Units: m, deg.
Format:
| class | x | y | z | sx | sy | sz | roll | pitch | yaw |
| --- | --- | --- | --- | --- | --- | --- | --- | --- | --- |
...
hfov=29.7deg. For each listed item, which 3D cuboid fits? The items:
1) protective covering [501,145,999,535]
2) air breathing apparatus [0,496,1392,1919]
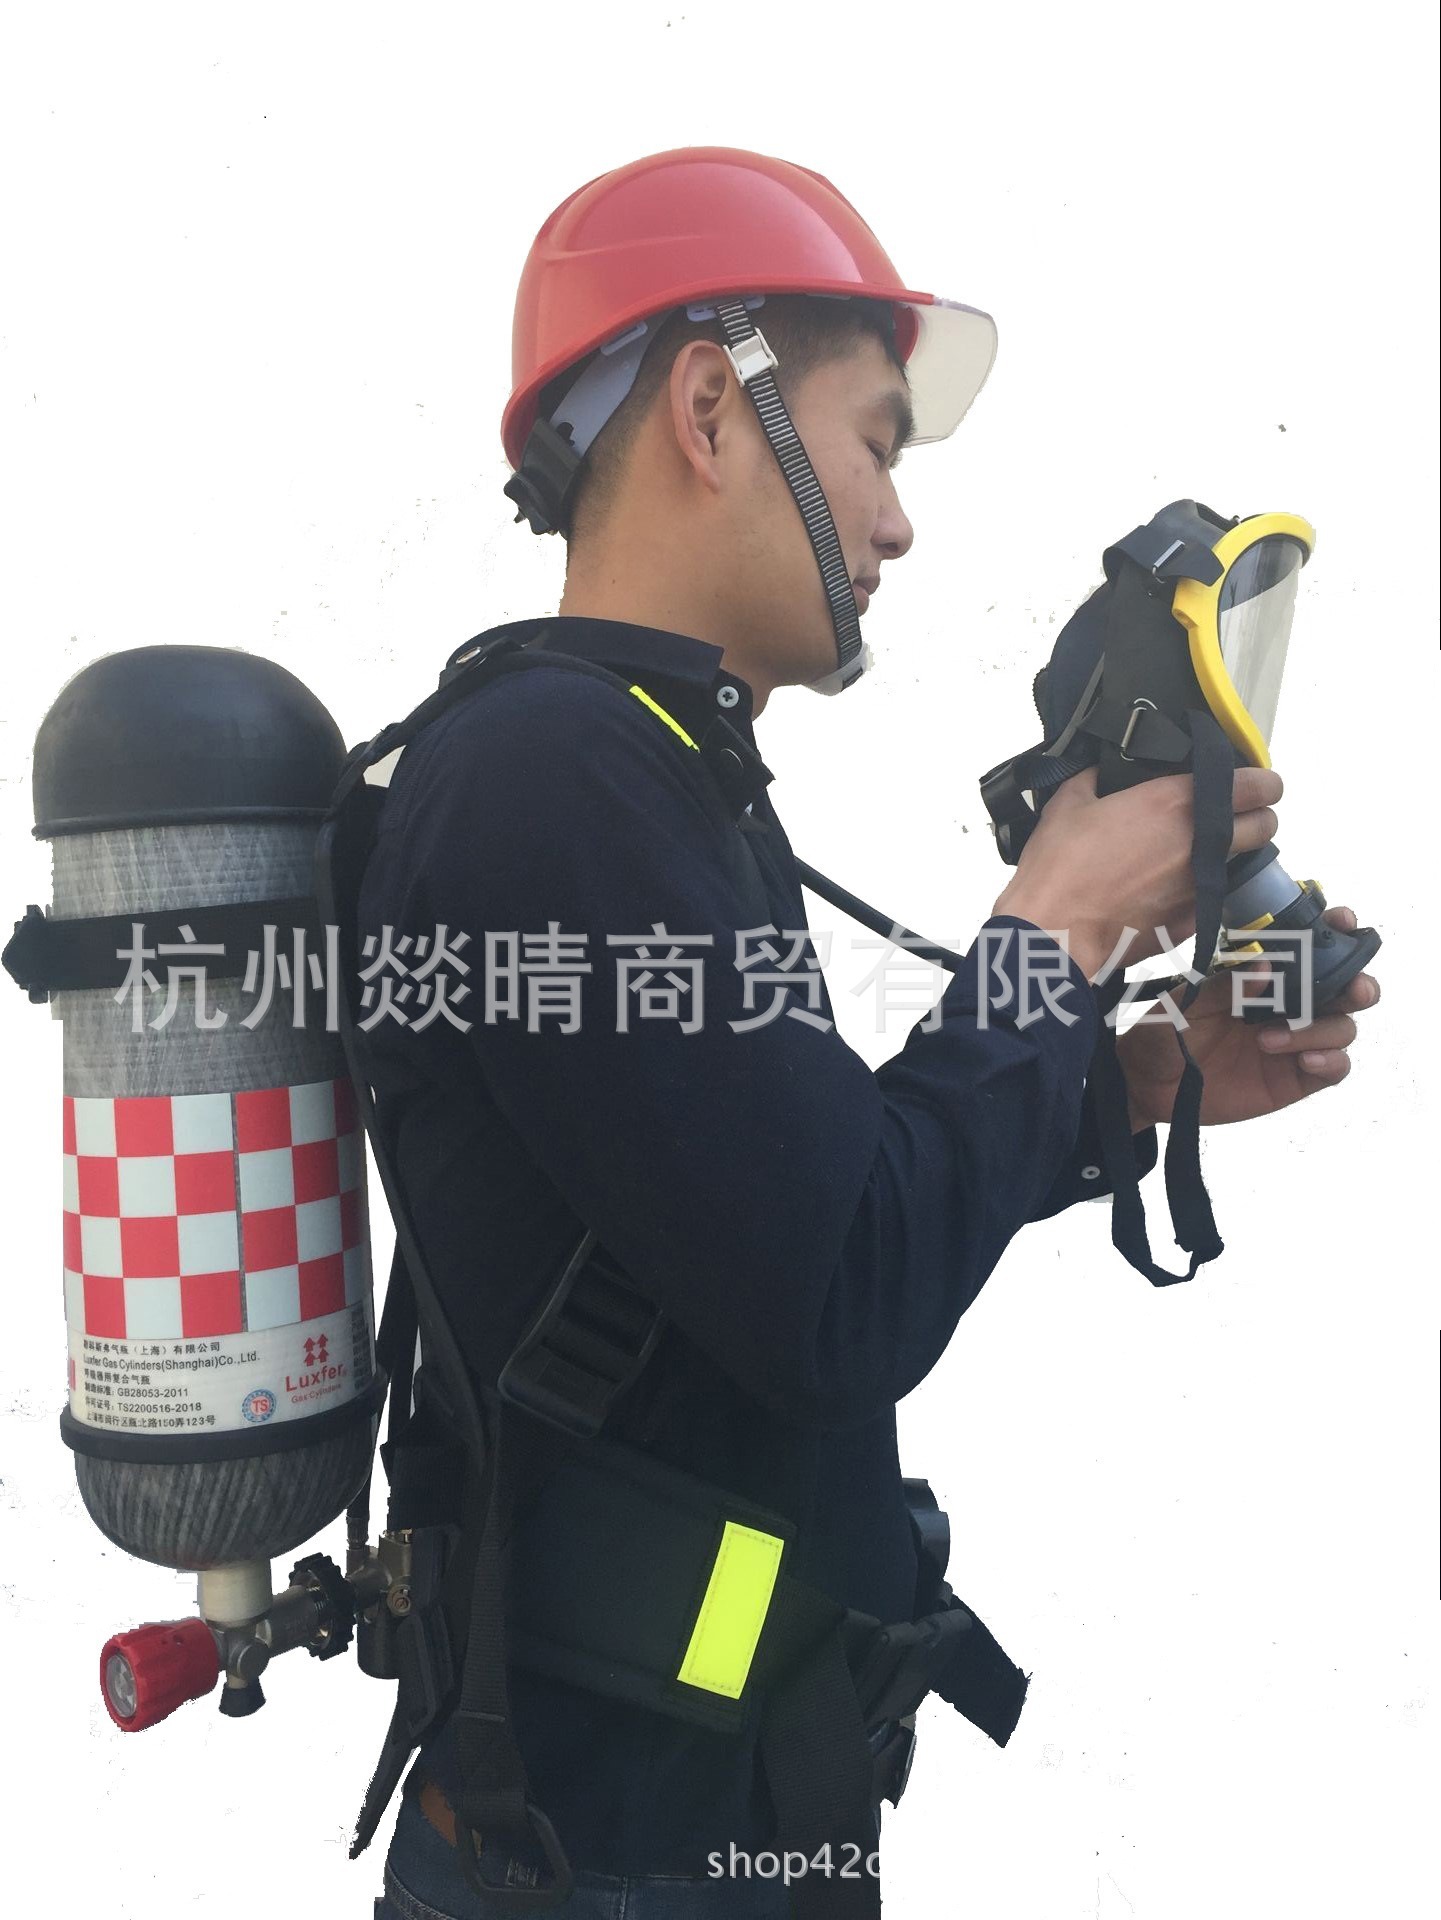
| class | x | y | z | sx | sy | sz | roll | pitch | yaw |
| --- | --- | --- | --- | --- | --- | --- | --- | --- | --- |
| protective covering | 0.010 | -0.742 | 3.000 | 0.564 | 0.314 | 0.405 | -16 | -14 | 10 |
| air breathing apparatus | 0.070 | 0.249 | 3.529 | 1.903 | 1.741 | 1.001 | -1 | -6 | -13 |
